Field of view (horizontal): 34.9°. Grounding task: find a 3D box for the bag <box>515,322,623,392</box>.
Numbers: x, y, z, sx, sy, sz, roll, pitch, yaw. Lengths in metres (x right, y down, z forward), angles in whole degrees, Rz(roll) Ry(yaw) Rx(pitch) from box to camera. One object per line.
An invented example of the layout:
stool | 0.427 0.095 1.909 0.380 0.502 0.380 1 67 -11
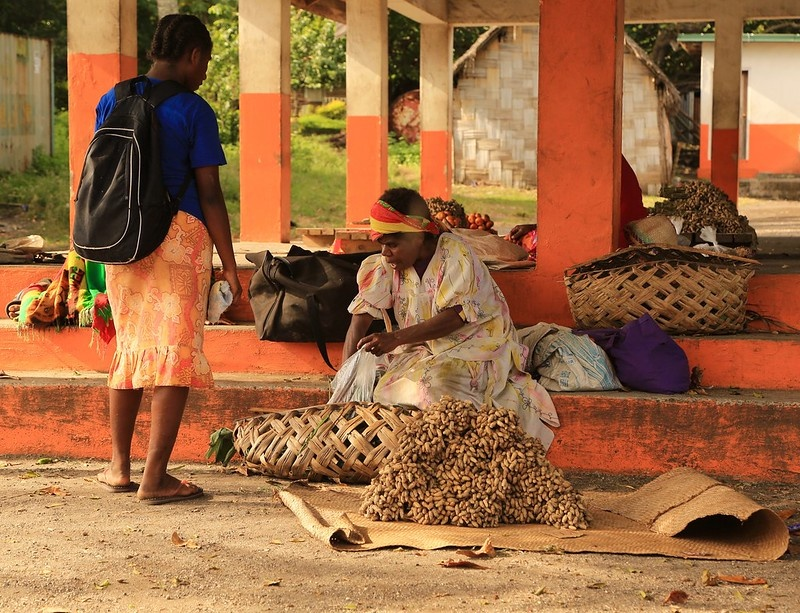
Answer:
bag | 1.029 0.302 8.256 0.778 0.269 0.575 9 29 1

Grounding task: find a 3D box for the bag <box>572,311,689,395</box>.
bag | 1.517 0.289 8.163 0.845 0.367 0.429 9 35 10

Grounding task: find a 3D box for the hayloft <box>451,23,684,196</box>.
hayloft | 3.305 -4.069 24.792 4.150 3.027 4.107 0 -1 20

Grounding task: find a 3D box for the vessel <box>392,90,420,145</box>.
vessel | 0.156 -3.919 26.230 0.400 1.035 0.947 0 6 -22

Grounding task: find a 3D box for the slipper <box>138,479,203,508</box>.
slipper | -1.347 1.094 7.483 0.299 0.085 0.143 -5 6 -21

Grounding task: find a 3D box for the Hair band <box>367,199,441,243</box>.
Hair band | 0.018 -0.516 7.565 0.300 0.159 0.234 2 -4 -7

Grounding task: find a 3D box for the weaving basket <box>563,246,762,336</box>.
weaving basket | 1.683 -0.136 8.193 0.862 0.346 0.700 1 -4 3
